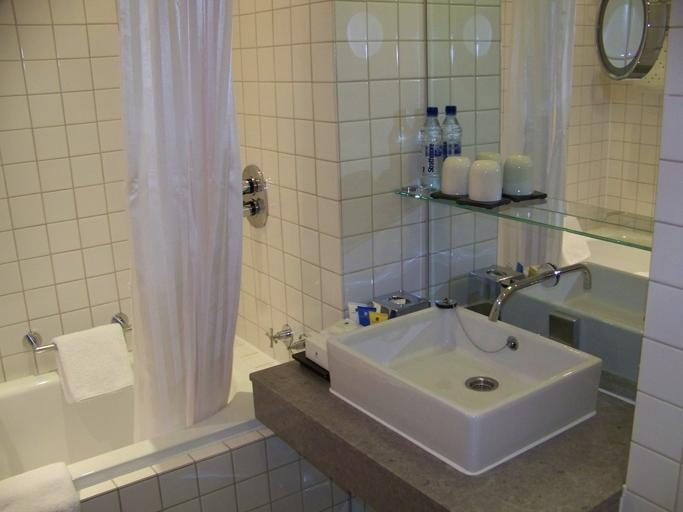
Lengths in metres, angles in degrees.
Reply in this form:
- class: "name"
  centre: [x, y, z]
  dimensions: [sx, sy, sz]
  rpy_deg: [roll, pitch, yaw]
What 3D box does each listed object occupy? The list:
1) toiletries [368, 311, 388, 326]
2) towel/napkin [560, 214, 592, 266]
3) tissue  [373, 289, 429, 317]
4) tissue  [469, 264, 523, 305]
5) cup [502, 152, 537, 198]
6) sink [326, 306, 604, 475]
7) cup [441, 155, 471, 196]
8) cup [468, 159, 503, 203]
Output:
- class: "toiletries"
  centre: [0.128, 0.227, 1.917]
  dimensions: [0.069, 0.052, 0.041]
  rpy_deg: [4, 17, 10]
- class: "towel/napkin"
  centre: [0.719, -0.048, 1.624]
  dimensions: [0.081, 0.155, 0.082]
  rpy_deg: [-34, 38, -28]
- class: "tissue "
  centre: [0.224, 0.183, 2.045]
  dimensions: [0.115, 0.051, 0.115]
  rpy_deg: [-9, 13, -23]
- class: "tissue "
  centre: [0.577, 0.097, 1.986]
  dimensions: [0.133, 0.137, 0.132]
  rpy_deg: [-7, 12, -34]
- class: "cup"
  centre: [0.583, -0.262, 1.752]
  dimensions: [0.119, 0.138, 0.119]
  rpy_deg: [0, 7, 0]
- class: "sink"
  centre: [0.351, 0.372, 1.621]
  dimensions: [0.499, 0.200, 0.646]
  rpy_deg: [-16, 20, -35]
- class: "cup"
  centre: [0.372, -0.280, 1.837]
  dimensions: [0.117, 0.138, 0.123]
  rpy_deg: [0, 10, 0]
- class: "cup"
  centre: [0.441, -0.242, 1.738]
  dimensions: [0.128, 0.146, 0.126]
  rpy_deg: [-1, 9, 0]
